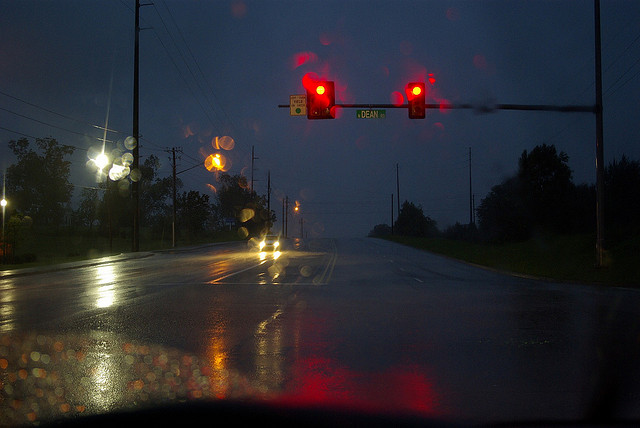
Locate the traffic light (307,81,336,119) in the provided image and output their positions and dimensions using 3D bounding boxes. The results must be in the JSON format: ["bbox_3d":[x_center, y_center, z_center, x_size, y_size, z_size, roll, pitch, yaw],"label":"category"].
[{"bbox_3d":[0.044,-5.089,27.820,1.224,1.959,1.013,-1,-19,1],"label":"traffic light"}]

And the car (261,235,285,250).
[{"bbox_3d":[-5.391,2.836,65.953,1.734,1.741,3.115,-1,-15,-2],"label":"car"}]

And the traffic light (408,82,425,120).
[{"bbox_3d":[4.465,-5.336,27.795,0.796,0.457,2.011,1,-45,11],"label":"traffic light"}]
